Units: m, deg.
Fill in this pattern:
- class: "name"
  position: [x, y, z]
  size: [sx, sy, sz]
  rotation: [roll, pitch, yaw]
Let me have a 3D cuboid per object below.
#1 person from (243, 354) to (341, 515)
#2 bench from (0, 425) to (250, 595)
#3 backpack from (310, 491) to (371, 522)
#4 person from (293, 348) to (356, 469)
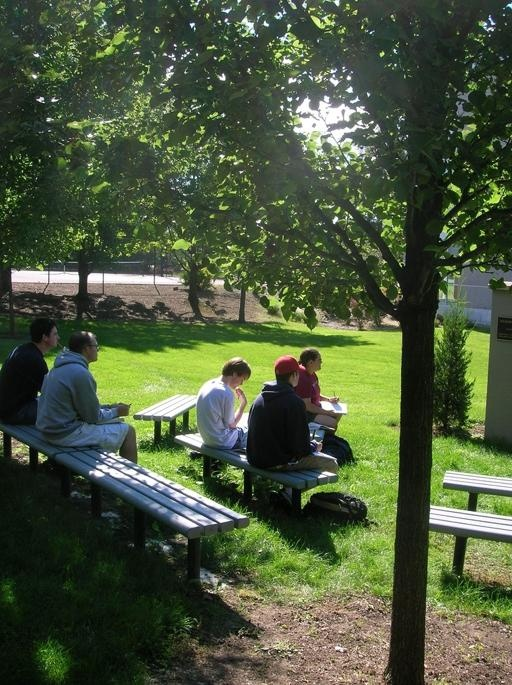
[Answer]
- class: "person"
  position: [0.378, 0.894, 6.339]
  size: [0.938, 1.456, 0.692]
  rotation: [1, 4, -32]
- class: "bench"
  position: [-1.089, 1.193, 5.125]
  size: [0.523, 0.796, 2.535]
  rotation: [9, 2, -42]
- class: "backpack"
  position: [0.766, 1.506, 6.118]
  size: [0.471, 0.146, 0.260]
  rotation: [7, 9, 10]
- class: "person"
  position: [0.836, 0.752, 8.488]
  size: [0.780, 1.384, 0.571]
  rotation: [1, 20, -3]
